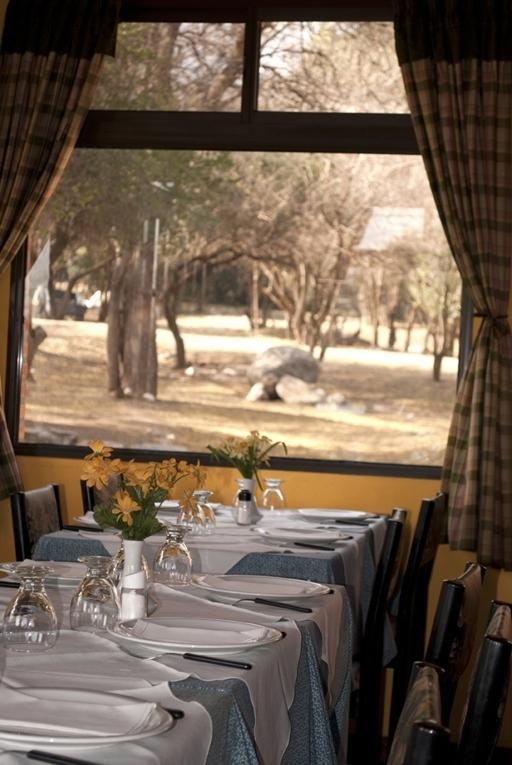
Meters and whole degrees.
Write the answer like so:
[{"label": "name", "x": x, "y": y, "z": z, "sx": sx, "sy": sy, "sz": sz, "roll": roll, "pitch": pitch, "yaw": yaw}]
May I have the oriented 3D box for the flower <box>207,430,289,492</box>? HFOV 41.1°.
[{"label": "flower", "x": -0.073, "y": 0.277, "z": 2.840, "sx": 0.362, "sy": 0.238, "sz": 0.368, "roll": 5, "pitch": 4, "yaw": 44}]
